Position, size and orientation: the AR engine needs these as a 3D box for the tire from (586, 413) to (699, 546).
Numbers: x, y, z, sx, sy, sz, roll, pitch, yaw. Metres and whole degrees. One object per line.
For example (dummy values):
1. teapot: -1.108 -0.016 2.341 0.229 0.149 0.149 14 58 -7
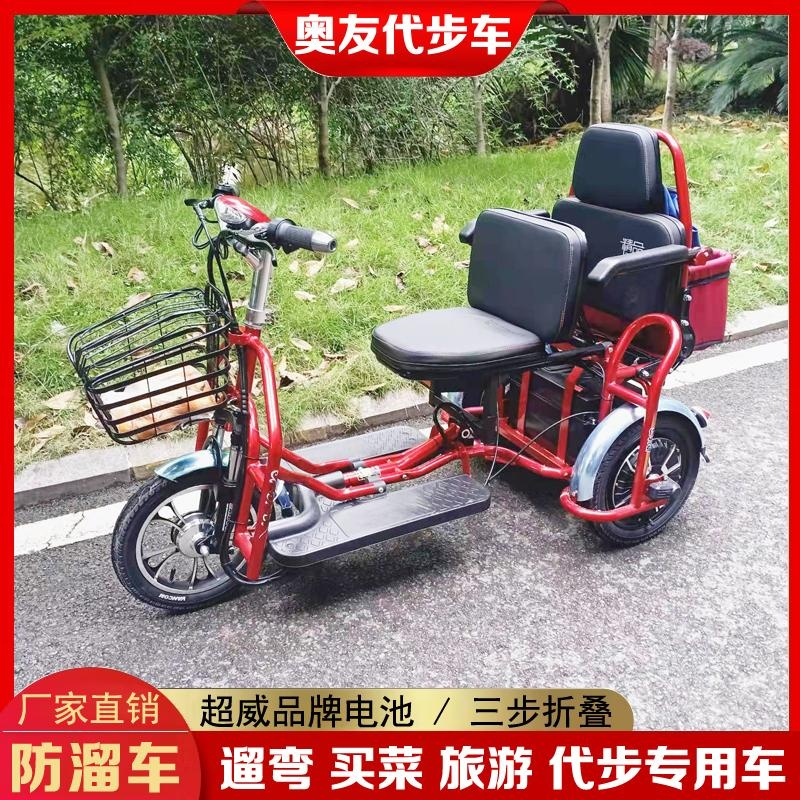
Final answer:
1. tire: 0.893 0.292 2.880 0.393 0.389 0.395 23 -3 -14

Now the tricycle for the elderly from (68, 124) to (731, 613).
1. tricycle for the elderly: 0.066 -0.111 2.893 2.424 1.311 1.344 -14 26 -27

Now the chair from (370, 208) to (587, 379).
1. chair: 0.232 -0.400 2.850 0.740 0.467 0.537 -13 27 -24
